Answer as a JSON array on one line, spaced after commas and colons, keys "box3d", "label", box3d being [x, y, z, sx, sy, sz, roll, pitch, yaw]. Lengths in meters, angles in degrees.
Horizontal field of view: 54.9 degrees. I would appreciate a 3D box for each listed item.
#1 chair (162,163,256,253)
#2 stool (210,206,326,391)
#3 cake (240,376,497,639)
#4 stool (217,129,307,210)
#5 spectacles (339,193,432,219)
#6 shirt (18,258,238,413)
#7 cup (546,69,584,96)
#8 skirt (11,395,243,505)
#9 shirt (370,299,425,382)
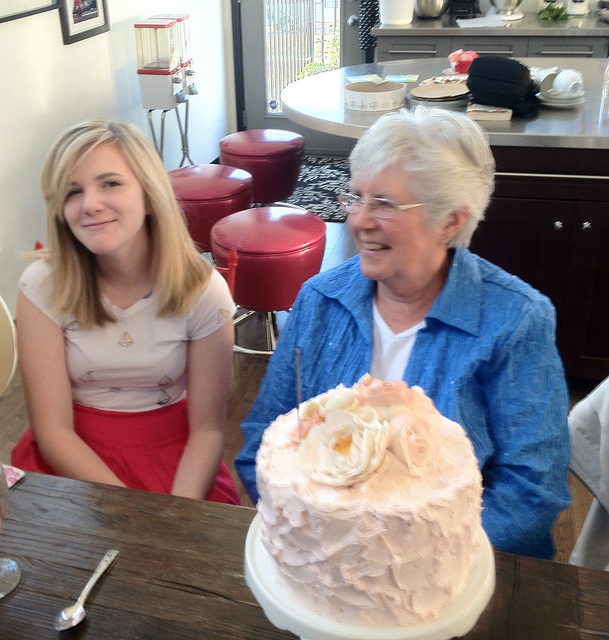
[{"box3d": [-0.478, -0.627, 2.942, 0.584, 0.378, 0.532, 2, 33, 3], "label": "chair"}, {"box3d": [-0.171, -0.056, 2.588, 0.506, 0.593, 0.470, 4, 14, -13], "label": "stool"}, {"box3d": [0.066, 0.198, 0.687, 0.306, 0.218, 0.285, -2, 11, 1], "label": "cake"}, {"box3d": [-0.224, -1.002, 4.097, 0.710, 0.682, 0.709, 0, 34, -2], "label": "stool"}, {"box3d": [0.131, -0.225, 1.150, 0.096, 0.043, 0.224, -7, 15, -33], "label": "spectacles"}, {"box3d": [-0.430, 0.042, 1.516, 0.531, 0.345, 0.264, 5, 24, 4], "label": "shirt"}, {"box3d": [1.094, -0.987, 2.471, 0.114, 0.107, 0.131, -10, 19, 10], "label": "cup"}, {"box3d": [-0.419, 0.300, 1.465, 0.442, 0.147, 0.310, 18, 26, 10], "label": "skirt"}, {"box3d": [0.177, 0.043, 1.203, 0.120, 0.150, 0.094, 9, 16, 27], "label": "shirt"}]
